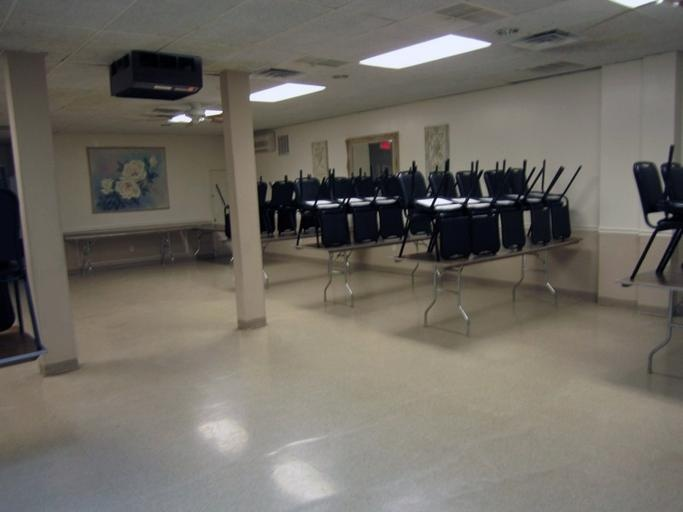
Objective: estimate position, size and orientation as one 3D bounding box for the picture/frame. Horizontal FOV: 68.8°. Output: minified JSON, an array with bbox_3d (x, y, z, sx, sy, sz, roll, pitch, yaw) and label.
[{"bbox_3d":[-4.660,-1.647,10.635,1.399,1.410,0.094,-7,8,-34],"label":"picture/frame"}]

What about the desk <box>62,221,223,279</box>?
[{"bbox_3d":[-4.137,-0.233,10.578,2.968,0.927,0.790,-10,15,-33],"label":"desk"}]
